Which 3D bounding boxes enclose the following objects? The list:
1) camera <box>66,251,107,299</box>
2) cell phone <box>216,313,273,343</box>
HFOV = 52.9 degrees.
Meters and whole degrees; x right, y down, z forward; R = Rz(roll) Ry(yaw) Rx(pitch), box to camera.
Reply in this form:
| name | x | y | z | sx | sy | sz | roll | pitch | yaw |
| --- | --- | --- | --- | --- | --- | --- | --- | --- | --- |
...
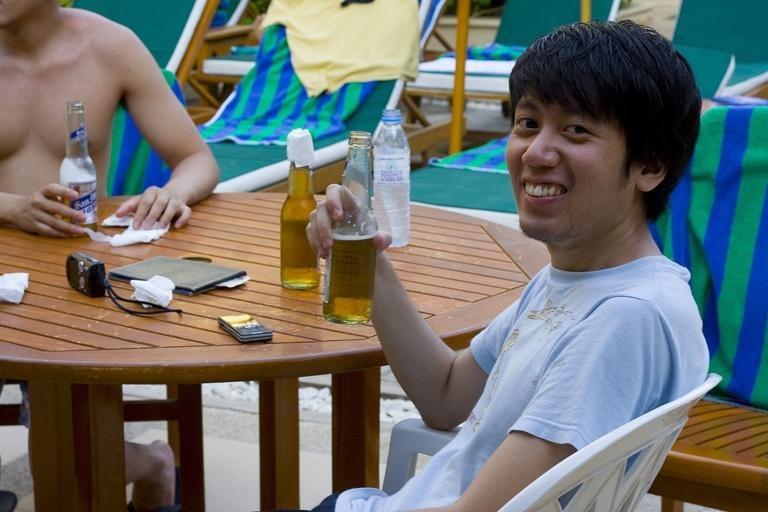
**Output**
| name | x | y | z | sx | sy | sz | roll | pitch | yaw |
| --- | --- | --- | --- | --- | --- | --- | --- | --- | --- |
| camera | -0.670 | 0.042 | 1.743 | 0.114 | 0.082 | 0.052 | 18 | 17 | 42 |
| cell phone | -0.285 | 0.150 | 1.592 | 0.068 | 0.041 | 0.117 | -10 | 13 | -40 |
